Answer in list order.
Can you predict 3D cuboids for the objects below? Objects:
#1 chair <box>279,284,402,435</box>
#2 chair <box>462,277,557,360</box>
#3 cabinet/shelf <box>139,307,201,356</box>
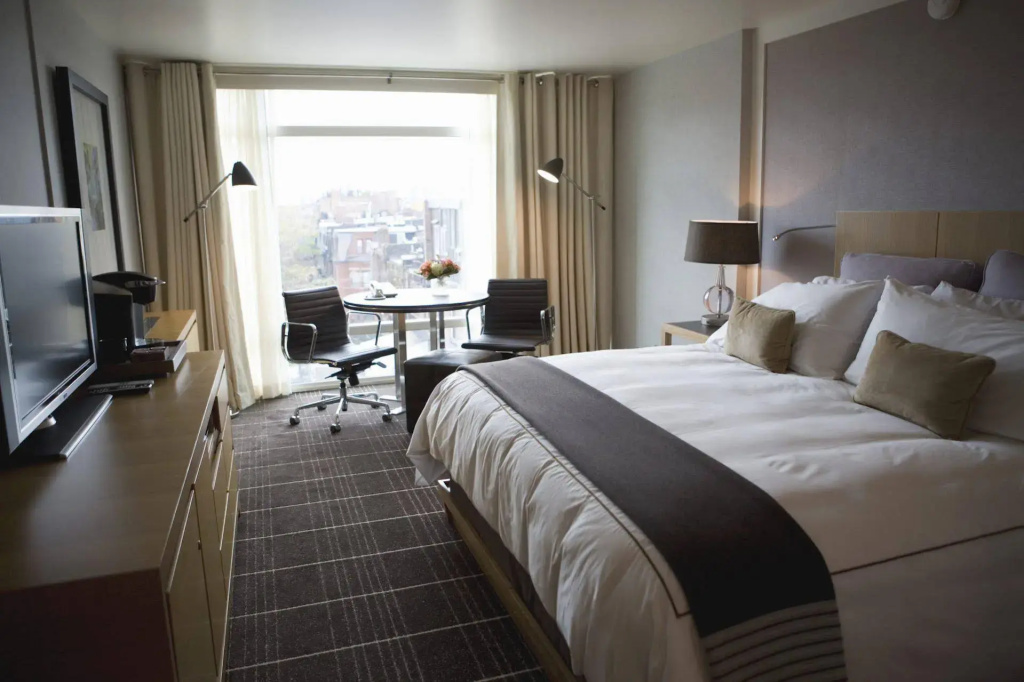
[{"bbox_3d":[-1.405,0.119,5.721,0.801,1.060,0.799,1,12,10],"label":"chair"},{"bbox_3d":[-0.020,-0.202,6.053,0.703,0.773,0.663,1,5,15],"label":"chair"},{"bbox_3d":[-2.035,-0.051,4.184,0.178,0.232,0.343,-2,10,-14],"label":"cabinet/shelf"}]
